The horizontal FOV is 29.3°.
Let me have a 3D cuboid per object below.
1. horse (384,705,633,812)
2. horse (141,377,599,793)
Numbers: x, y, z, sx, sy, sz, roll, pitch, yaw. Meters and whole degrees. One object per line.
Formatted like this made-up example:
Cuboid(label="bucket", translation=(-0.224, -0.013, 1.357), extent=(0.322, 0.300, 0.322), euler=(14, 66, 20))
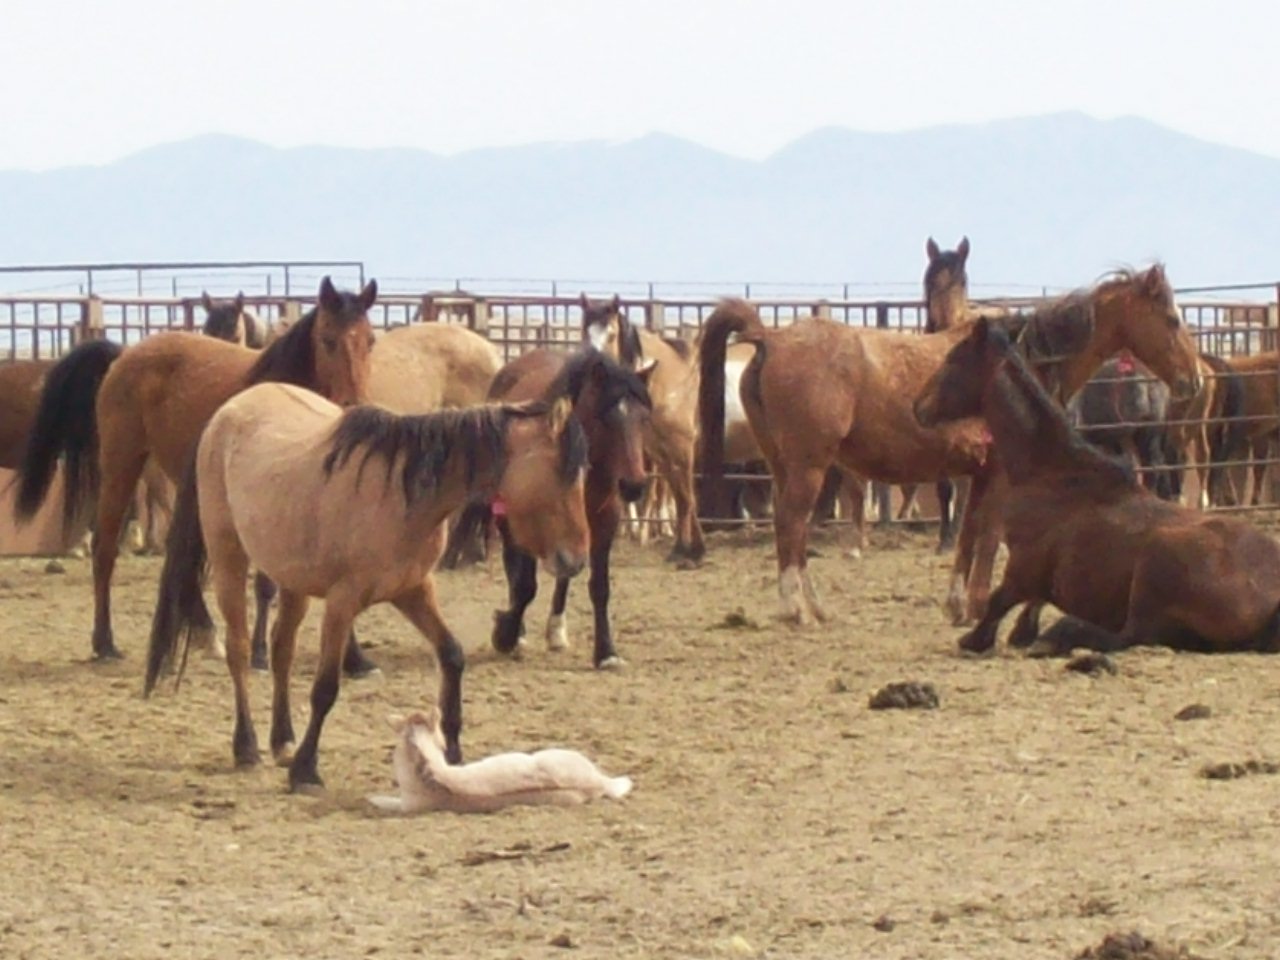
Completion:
Cuboid(label="horse", translation=(-0.825, 1.506, 13.302), extent=(1.533, 0.771, 0.553), euler=(3, -9, -4))
Cuboid(label="horse", translation=(-1.661, 0.587, 13.971), extent=(3.065, 2.500, 0.845), euler=(10, 14, 32))
